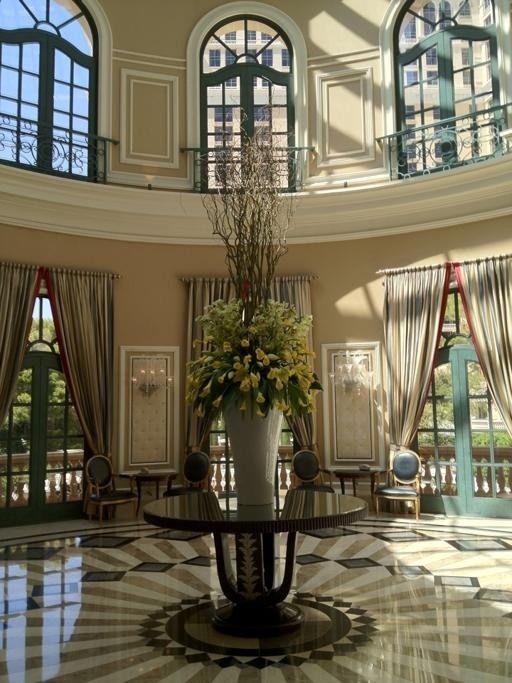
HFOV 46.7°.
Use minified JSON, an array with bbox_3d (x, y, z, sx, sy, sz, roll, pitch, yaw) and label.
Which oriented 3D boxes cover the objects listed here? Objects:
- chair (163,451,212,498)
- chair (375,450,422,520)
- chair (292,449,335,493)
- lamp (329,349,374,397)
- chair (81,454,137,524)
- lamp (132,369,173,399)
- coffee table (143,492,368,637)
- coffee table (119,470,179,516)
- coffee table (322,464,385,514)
[{"bbox_3d":[-0.831,1.827,7.411,0.408,0.825,0.489,3,-2,17],"label":"chair"},{"bbox_3d":[1.690,1.689,7.025,0.553,0.802,0.539,2,-10,2],"label":"chair"},{"bbox_3d":[0.689,1.760,7.390,0.466,0.824,0.503,3,-12,-13],"label":"chair"},{"bbox_3d":[1.309,0.418,8.012,0.559,0.740,0.520,-2,-7,23],"label":"lamp"},{"bbox_3d":[-1.777,1.775,7.156,0.502,0.805,0.497,-7,-9,34],"label":"chair"},{"bbox_3d":[-1.413,0.576,8.014,0.379,0.380,0.106,1,-7,-18],"label":"lamp"},{"bbox_3d":[0.009,1.267,3.408,1.061,0.643,1.107,9,-2,-12],"label":"coffee table"},{"bbox_3d":[-1.361,1.920,7.628,0.539,0.478,0.587,3,-6,-14],"label":"coffee table"},{"bbox_3d":[1.270,2.020,7.501,0.840,0.665,0.574,-1,-14,2],"label":"coffee table"}]
